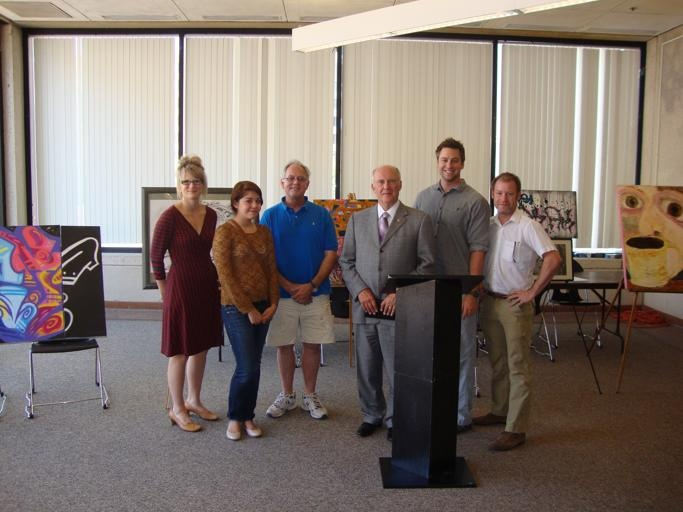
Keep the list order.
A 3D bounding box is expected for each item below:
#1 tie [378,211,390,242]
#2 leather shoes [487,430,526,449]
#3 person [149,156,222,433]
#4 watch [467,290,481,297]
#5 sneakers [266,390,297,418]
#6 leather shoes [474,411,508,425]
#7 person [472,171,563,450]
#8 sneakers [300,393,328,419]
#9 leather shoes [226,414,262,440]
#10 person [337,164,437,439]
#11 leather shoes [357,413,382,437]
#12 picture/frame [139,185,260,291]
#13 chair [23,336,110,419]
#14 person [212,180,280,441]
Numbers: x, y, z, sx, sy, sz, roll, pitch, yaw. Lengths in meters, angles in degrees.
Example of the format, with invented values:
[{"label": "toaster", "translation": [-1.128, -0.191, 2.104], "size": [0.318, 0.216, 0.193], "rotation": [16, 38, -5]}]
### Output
[{"label": "tie", "translation": [0.353, -0.237, 4.630], "size": [0.082, 0.236, 0.088], "rotation": [1, 13, 5]}, {"label": "leather shoes", "translation": [1.359, 1.515, 4.694], "size": [0.353, 0.165, 0.123], "rotation": [0, -2, -22]}, {"label": "person", "translation": [-1.306, 0.317, 4.874], "size": [0.592, 2.291, 0.618], "rotation": [11, 17, 41]}, {"label": "watch", "translation": [1.115, 0.315, 4.715], "size": [0.080, 0.025, 0.085], "rotation": [-7, 1, 0]}, {"label": "sneakers", "translation": [-0.540, 1.356, 5.214], "size": [0.126, 0.152, 0.329], "rotation": [0, -2, 31]}, {"label": "leather shoes", "translation": [1.315, 1.440, 5.000], "size": [0.294, 0.128, 0.109], "rotation": [3, -3, 4]}, {"label": "person", "translation": [1.468, 0.568, 4.724], "size": [0.567, 1.908, 0.740], "rotation": [1, 13, 5]}, {"label": "sneakers", "translation": [-0.254, 1.357, 5.147], "size": [0.123, 0.146, 0.311], "rotation": [-3, 5, -32]}, {"label": "leather shoes", "translation": [-0.837, 1.430, 4.753], "size": [0.163, 0.099, 0.242], "rotation": [2, -7, -25]}, {"label": "person", "translation": [0.347, 0.400, 4.664], "size": [0.809, 2.232, 0.575], "rotation": [2, 13, 10]}, {"label": "leather shoes", "translation": [0.228, 1.449, 4.799], "size": [0.097, 0.113, 0.266], "rotation": [-7, -7, 38]}, {"label": "picture/frame", "translation": [-1.292, -0.169, 5.199], "size": [1.391, 1.426, 0.103], "rotation": [0, 1, 0]}, {"label": "chair", "translation": [-2.681, 1.013, 5.490], "size": [0.766, 0.806, 0.844], "rotation": [-3, 6, -38]}, {"label": "person", "translation": [-0.814, 0.442, 4.756], "size": [0.495, 2.082, 0.643], "rotation": [3, 13, 15]}]
